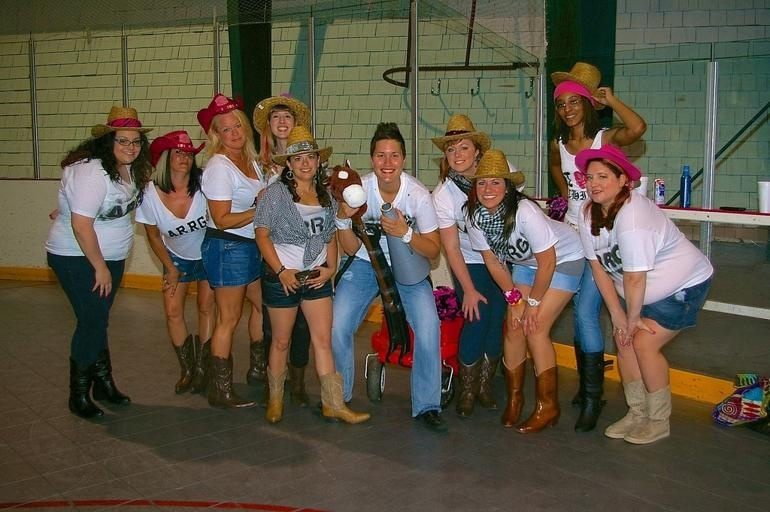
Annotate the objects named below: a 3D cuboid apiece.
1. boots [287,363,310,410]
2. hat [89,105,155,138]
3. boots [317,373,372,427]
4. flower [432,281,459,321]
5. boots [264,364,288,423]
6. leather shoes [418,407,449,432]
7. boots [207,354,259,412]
[{"bbox_3d":[-0.809,1.234,5.402,0.165,0.361,0.385,-4,17,-24],"label":"boots"},{"bbox_3d":[-2.393,-1.229,5.178,0.452,0.286,0.584,-1,12,-4],"label":"hat"},{"bbox_3d":[-0.348,1.250,5.019,0.462,0.439,0.196,-2,7,16],"label":"boots"},{"bbox_3d":[0.609,0.464,5.628,0.259,0.285,0.108,-8,-12,1],"label":"flower"},{"bbox_3d":[-0.978,1.244,5.080,0.212,0.437,0.453,2,10,-8],"label":"boots"},{"bbox_3d":[0.411,1.414,4.955,0.253,0.135,0.314,0,12,-3],"label":"leather shoes"},{"bbox_3d":[-1.316,1.182,5.439,0.663,0.622,0.281,1,7,-10],"label":"boots"}]
